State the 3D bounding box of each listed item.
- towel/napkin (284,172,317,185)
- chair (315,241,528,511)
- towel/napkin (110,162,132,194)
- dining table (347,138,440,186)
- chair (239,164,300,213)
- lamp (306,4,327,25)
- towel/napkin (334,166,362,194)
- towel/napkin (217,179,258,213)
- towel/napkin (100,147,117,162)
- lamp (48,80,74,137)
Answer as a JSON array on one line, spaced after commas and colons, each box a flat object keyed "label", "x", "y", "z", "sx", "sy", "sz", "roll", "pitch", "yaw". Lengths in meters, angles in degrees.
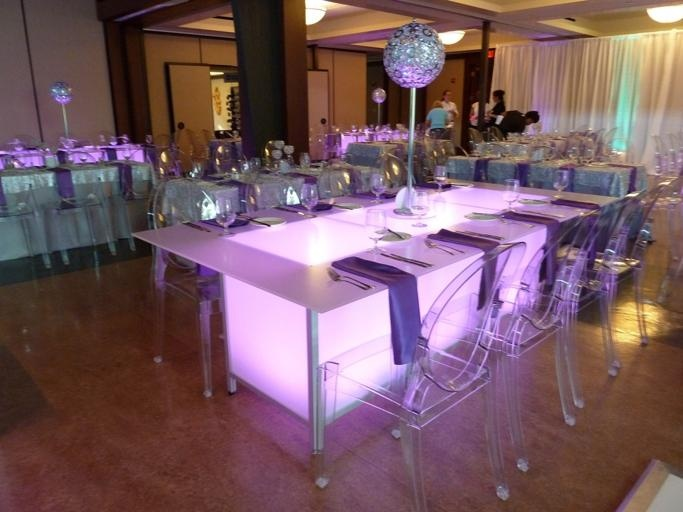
[{"label": "towel/napkin", "x": -0.409, "y": -0.801, "z": 4.900, "sx": 0.378, "sy": 0.094, "sz": 0.414, "roll": 16, "pitch": 19, "yaw": 38}, {"label": "chair", "x": 0.388, "y": 0.601, "z": 2.404, "sx": 0.758, "sy": 1.356, "sz": 0.824, "roll": -21, "pitch": 33, "yaw": -36}, {"label": "towel/napkin", "x": -2.509, "y": -0.913, "z": 5.538, "sx": 0.293, "sy": 0.270, "sz": 0.288, "roll": -20, "pitch": 47, "yaw": -37}, {"label": "dining table", "x": 0.662, "y": -1.523, "z": 7.665, "sx": 1.405, "sy": 0.505, "sz": 1.379, "roll": -11, "pitch": 21, "yaw": -31}, {"label": "chair", "x": -0.687, "y": -0.633, "z": 4.637, "sx": 0.556, "sy": 0.347, "sz": 0.546, "roll": -11, "pitch": 16, "yaw": -39}, {"label": "lamp", "x": -0.416, "y": -3.822, "z": 7.579, "sx": 0.273, "sy": 0.263, "sz": 0.583, "roll": -3, "pitch": 18, "yaw": -5}, {"label": "towel/napkin", "x": 0.091, "y": -0.723, "z": 4.546, "sx": 0.239, "sy": 0.115, "sz": 0.383, "roll": -18, "pitch": 35, "yaw": -28}, {"label": "towel/napkin", "x": -0.855, "y": -0.495, "z": 4.018, "sx": 0.389, "sy": 0.264, "sz": 0.214, "roll": 16, "pitch": 25, "yaw": 38}, {"label": "towel/napkin", "x": -3.087, "y": -1.331, "z": 6.369, "sx": 0.149, "sy": 0.146, "sz": 0.267, "roll": -23, "pitch": -1, "yaw": -17}, {"label": "lamp", "x": -4.335, "y": -2.272, "z": 7.526, "sx": 0.301, "sy": 0.902, "sz": 1.590, "roll": -11, "pitch": 20, "yaw": -28}]
